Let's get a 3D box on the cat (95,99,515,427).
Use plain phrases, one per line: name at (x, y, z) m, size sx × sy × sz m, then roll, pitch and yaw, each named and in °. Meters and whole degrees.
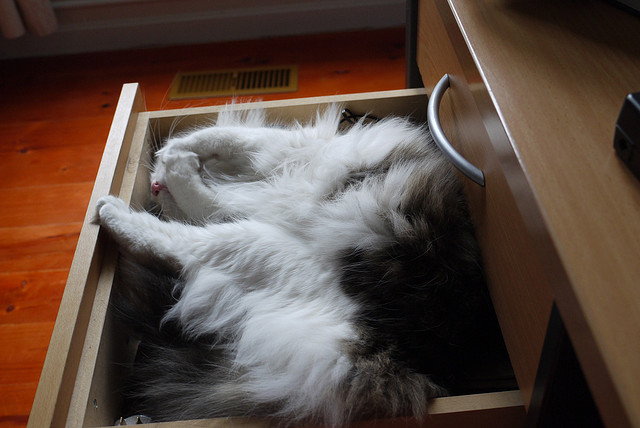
cat at (-0.037, 0.075, 0.910) m, size 0.639 × 0.222 × 0.576 m, roll -8°, pitch 54°, yaw -10°
